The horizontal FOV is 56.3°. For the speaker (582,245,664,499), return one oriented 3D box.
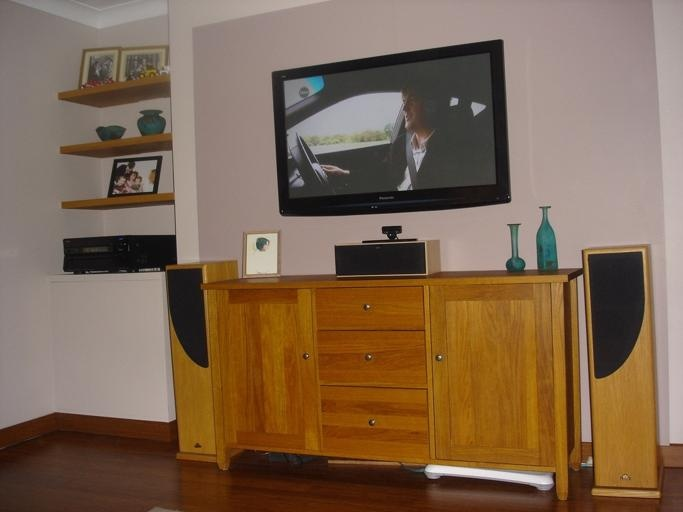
[{"bbox_3d":[1.377,0.574,3.150,0.326,1.225,0.161,-1,8,14],"label":"speaker"}]

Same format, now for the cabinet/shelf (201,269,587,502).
[{"bbox_3d":[0.256,0.669,3.697,2.044,1.209,0.593,-3,0,19],"label":"cabinet/shelf"}]

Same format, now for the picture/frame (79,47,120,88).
[{"bbox_3d":[-1.718,-1.341,4.572,0.321,0.348,0.023,-1,-9,14],"label":"picture/frame"}]

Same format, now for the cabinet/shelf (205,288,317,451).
[{"bbox_3d":[-0.440,0.589,3.738,0.579,0.940,0.333,-2,13,-7],"label":"cabinet/shelf"}]

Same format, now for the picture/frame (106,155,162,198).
[{"bbox_3d":[-1.474,-0.573,4.613,0.328,0.259,0.023,-4,-26,16],"label":"picture/frame"}]

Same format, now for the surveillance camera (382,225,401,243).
[{"bbox_3d":[0.284,-0.124,3.632,0.120,0.099,0.076,0,-1,10],"label":"surveillance camera"}]

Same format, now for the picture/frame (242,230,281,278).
[{"bbox_3d":[-0.487,-0.007,3.958,0.265,0.333,0.033,1,-6,7],"label":"picture/frame"}]

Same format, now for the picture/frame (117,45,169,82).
[{"bbox_3d":[-1.377,-1.338,4.475,0.277,0.213,0.021,-2,-7,10],"label":"picture/frame"}]
